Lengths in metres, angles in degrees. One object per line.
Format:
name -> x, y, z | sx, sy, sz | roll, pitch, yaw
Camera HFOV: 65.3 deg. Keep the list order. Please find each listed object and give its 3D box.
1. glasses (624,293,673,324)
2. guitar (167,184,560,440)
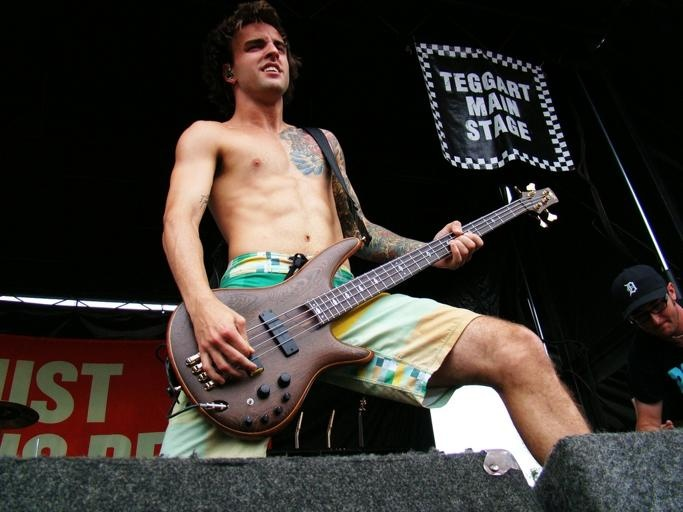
glasses -> 1.741, 0.315, 3.009 | 0.192, 0.177, 0.059 | 2, 15, 1
guitar -> 0.177, 0.270, 2.596 | 1.926, 0.256, 0.644 | -32, 74, -23
